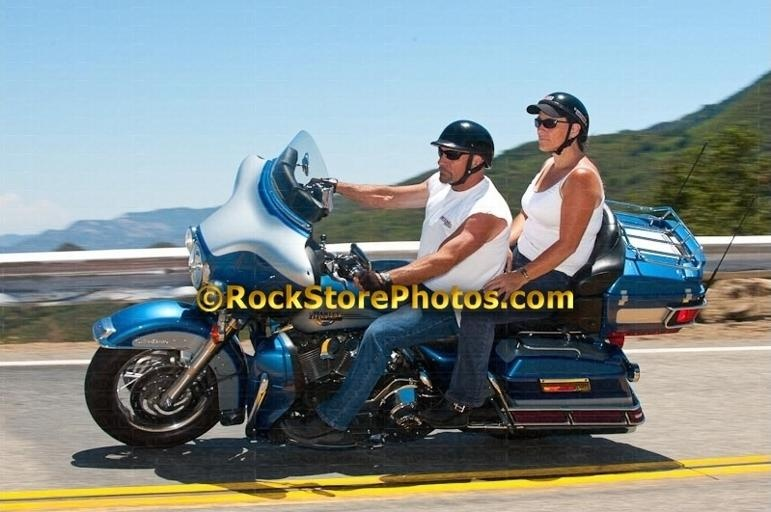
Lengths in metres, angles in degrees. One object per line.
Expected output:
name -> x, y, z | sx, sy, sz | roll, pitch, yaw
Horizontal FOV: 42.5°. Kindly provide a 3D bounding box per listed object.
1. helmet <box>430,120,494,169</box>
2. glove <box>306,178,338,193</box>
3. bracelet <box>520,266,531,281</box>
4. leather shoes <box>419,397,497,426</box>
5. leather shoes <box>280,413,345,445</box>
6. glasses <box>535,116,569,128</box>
helmet -> 0.514, -0.701, 6.261 | 0.418, 0.289, 0.167 | -3, 7, -29
glove -> -0.405, -0.459, 6.470 | 0.236, 0.064, 0.114 | 2, 7, -2
bracelet -> 0.901, 0.112, 6.494 | 0.043, 0.069, 0.064 | -11, 16, -17
leather shoes -> 0.459, 1.022, 6.512 | 0.404, 0.077, 0.232 | 0, -1, -7
leather shoes -> -0.493, 1.131, 6.460 | 0.369, 0.093, 0.211 | 4, 13, 1
glasses -> 1.041, -0.853, 6.354 | 0.204, 0.046, 0.209 | 4, 6, 40
